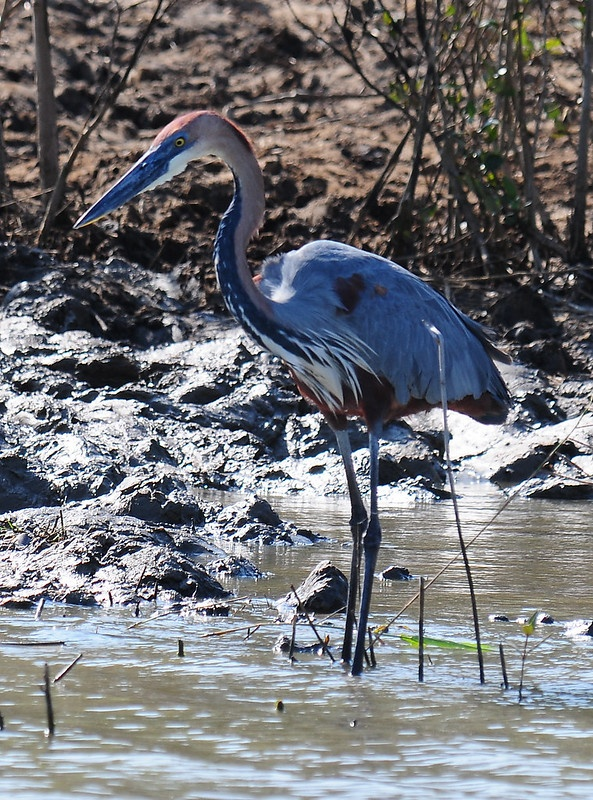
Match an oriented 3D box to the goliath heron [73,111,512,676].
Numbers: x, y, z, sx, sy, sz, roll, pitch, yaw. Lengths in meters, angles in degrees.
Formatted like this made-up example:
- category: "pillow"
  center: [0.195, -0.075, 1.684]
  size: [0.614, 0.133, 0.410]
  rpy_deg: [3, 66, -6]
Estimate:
- category: "goliath heron"
  center: [0.077, -0.278, 4.198]
  size: [1.160, 1.460, 1.131]
  rpy_deg: [5, 3, 30]
